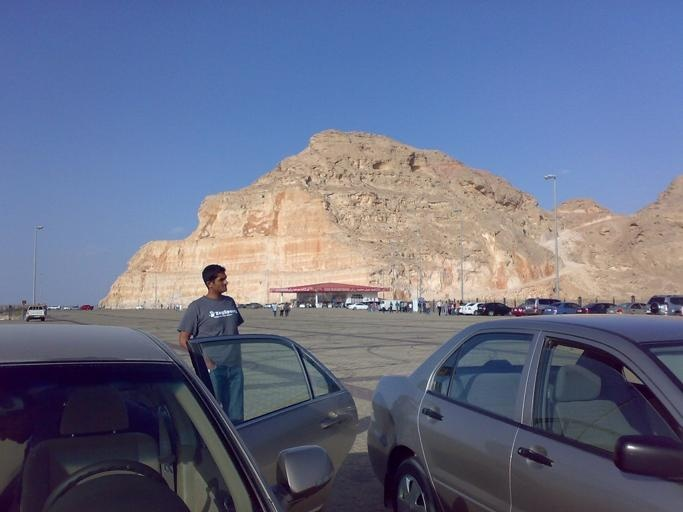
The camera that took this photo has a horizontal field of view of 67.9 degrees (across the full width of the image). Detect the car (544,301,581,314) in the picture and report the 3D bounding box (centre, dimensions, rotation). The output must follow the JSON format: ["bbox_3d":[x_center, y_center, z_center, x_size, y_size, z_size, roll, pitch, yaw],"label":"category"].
[{"bbox_3d":[19.461,4.382,44.372,2.107,0.693,5.121,-11,-8,32],"label":"car"}]

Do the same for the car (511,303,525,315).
[{"bbox_3d":[17.551,5.228,49.973,1.088,0.842,1.918,2,4,28],"label":"car"}]

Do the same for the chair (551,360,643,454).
[{"bbox_3d":[1.616,0.909,3.225,0.489,0.354,0.759,-10,-8,27],"label":"chair"}]

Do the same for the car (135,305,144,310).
[{"bbox_3d":[-47.975,11.834,120.315,1.912,1.327,2.761,2,-7,-30],"label":"car"}]
